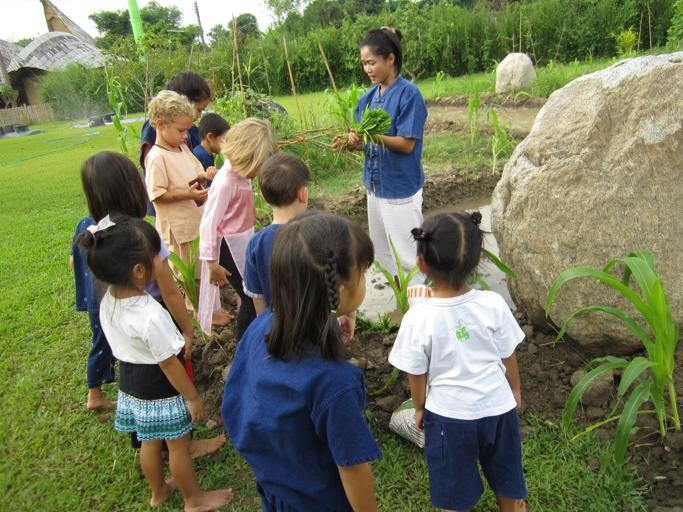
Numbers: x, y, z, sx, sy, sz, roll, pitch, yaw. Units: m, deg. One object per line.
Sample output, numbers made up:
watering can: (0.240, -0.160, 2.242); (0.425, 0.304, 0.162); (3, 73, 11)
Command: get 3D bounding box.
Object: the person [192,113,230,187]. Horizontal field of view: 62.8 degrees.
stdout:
person: (-0.997, -0.794, 4.201); (0.300, 0.770, 0.314); (0, 55, -16)
